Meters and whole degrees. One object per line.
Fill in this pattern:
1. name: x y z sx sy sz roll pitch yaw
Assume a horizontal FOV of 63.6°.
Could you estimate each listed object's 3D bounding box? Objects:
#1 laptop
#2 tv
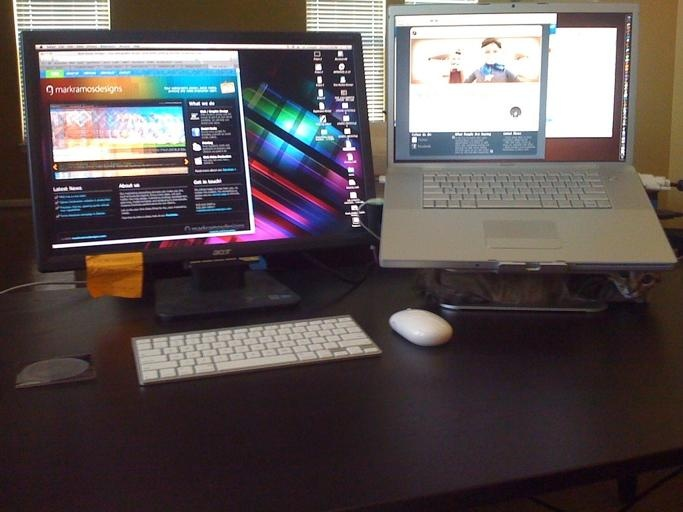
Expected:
1. laptop: 0.345 -0.139 1.209 0.639 0.440 0.515 0 47 2
2. tv: -0.260 -0.155 1.010 0.582 0.441 0.169 -1 1 -8
